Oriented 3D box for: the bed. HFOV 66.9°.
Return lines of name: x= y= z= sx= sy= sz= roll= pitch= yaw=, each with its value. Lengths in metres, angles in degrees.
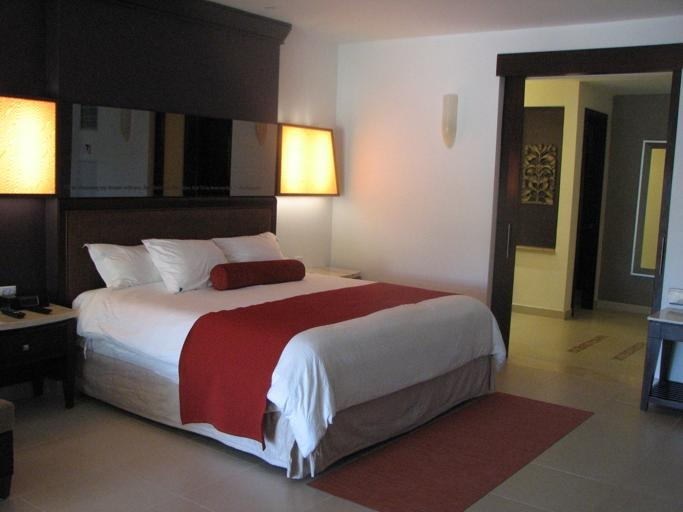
bed: x=-0.653 y=0.531 z=3.962 sx=2.292 sy=1.488 sz=2.337 roll=4 pitch=9 yaw=38
